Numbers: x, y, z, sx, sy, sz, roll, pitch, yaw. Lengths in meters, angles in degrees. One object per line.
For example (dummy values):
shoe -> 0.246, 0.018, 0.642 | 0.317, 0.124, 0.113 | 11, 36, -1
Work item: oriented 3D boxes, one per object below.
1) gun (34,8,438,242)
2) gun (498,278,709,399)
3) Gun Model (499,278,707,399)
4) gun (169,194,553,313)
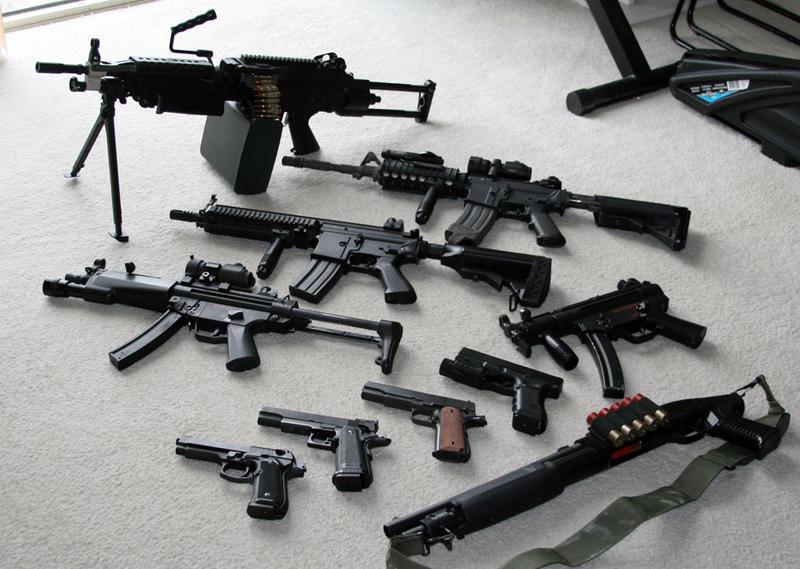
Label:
gun -> -1.106, -1.353, 5.889 | 3.498, 1.394, 1.338 | 0, 24, -24
gun -> 1.340, 0.349, 4.436 | 1.276, 0.214, 0.701 | -22, 80, -19
Gun Model -> 1.354, 0.338, 4.423 | 1.221, 0.168, 0.650 | -21, 83, -17
gun -> -0.249, -0.189, 4.846 | 2.405, 0.246, 0.683 | 7, 48, 10
